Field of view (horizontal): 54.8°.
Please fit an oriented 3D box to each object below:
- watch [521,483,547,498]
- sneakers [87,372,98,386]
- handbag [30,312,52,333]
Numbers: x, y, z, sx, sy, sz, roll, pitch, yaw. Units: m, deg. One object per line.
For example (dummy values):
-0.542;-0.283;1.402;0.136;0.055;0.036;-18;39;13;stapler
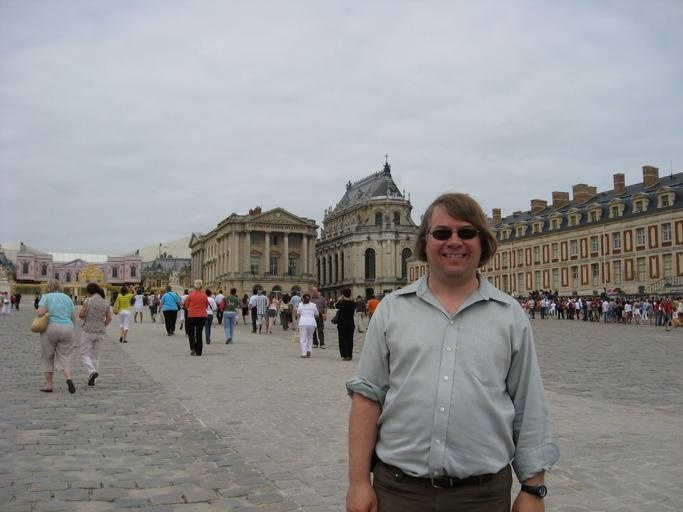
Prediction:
1.147;1.394;3.905;0.104;0.058;0.106;9;-8;30;watch
-4.707;2.345;12.444;0.125;0.290;0.115;5;-34;35;sneakers
-5.346;1.177;11.531;0.421;0.345;0.302;-3;-3;39;handbag
